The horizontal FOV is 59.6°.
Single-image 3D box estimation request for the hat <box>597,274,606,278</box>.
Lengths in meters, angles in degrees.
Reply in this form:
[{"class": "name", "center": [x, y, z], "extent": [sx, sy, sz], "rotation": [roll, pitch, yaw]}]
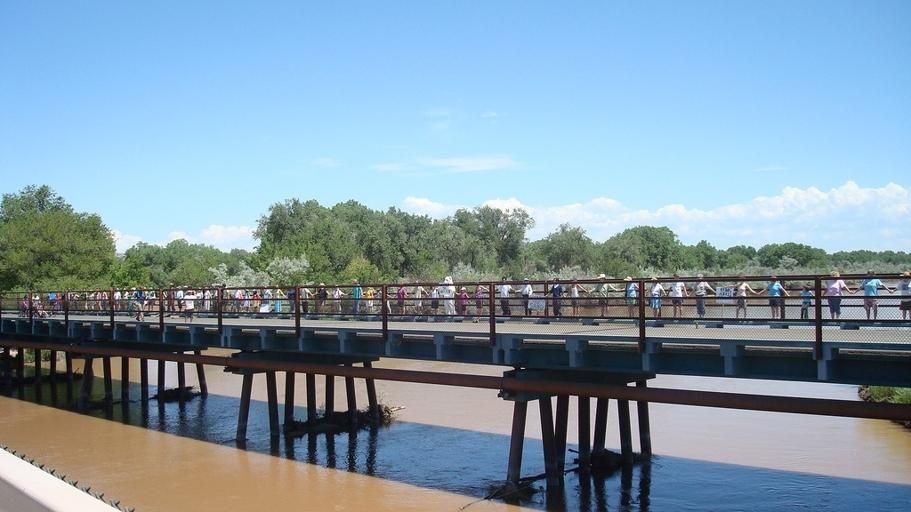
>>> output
[{"class": "hat", "center": [13.005, 1.702, 70.868], "extent": [0.992, 0.275, 0.869], "rotation": [0, -2, -11]}]
